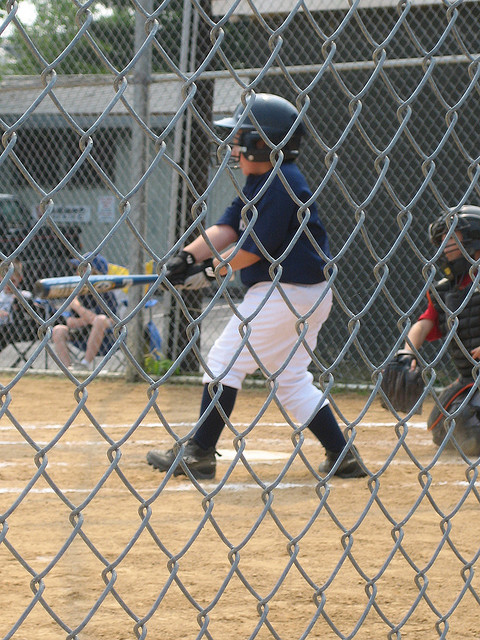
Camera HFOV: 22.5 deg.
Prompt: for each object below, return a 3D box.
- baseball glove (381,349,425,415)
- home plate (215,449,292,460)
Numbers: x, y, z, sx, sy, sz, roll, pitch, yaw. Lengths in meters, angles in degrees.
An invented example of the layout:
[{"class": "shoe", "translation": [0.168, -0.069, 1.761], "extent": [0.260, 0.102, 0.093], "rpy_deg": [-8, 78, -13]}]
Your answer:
[{"class": "baseball glove", "translation": [0.722, 0.265, 5.379], "extent": [0.217, 0.334, 0.232], "rpy_deg": [1, 6, -13]}, {"class": "home plate", "translation": [0.070, 0.649, 5.825], "extent": [0.300, 0.012, 0.310], "rpy_deg": [1, -1, -16]}]
